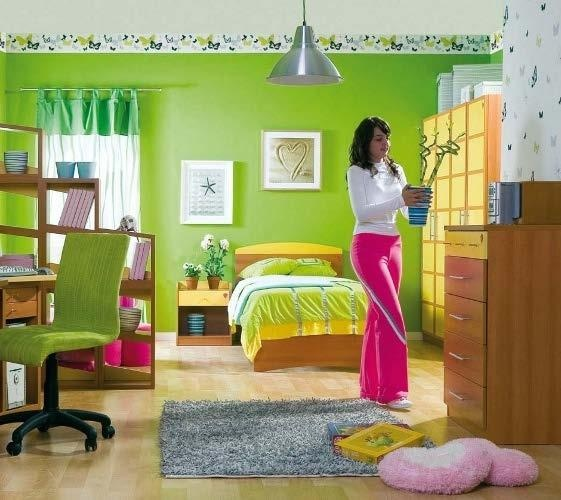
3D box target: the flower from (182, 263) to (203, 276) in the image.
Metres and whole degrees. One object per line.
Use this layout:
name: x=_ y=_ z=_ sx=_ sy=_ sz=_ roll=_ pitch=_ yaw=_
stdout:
flower: x=-0.847 y=0.211 z=5.876 sx=0.142 sy=0.076 sz=0.142 roll=2 pitch=-2 yaw=-42

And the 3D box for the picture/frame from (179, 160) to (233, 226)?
picture/frame: x=-0.767 y=-0.593 z=6.040 sx=0.637 sy=0.798 sz=0.077 roll=0 pitch=1 yaw=-4

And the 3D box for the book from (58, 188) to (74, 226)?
book: x=-1.415 y=-0.261 z=3.869 sx=0.043 sy=0.194 sz=0.192 roll=8 pitch=-4 yaw=-6

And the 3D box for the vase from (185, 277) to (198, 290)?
vase: x=-0.863 y=0.341 z=5.842 sx=0.111 sy=0.087 sz=0.113 roll=0 pitch=1 yaw=-25

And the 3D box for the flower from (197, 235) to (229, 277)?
flower: x=-0.645 y=0.074 z=5.954 sx=0.288 sy=0.454 sz=0.336 roll=0 pitch=0 yaw=-6

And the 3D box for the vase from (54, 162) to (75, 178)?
vase: x=-1.450 y=-0.534 z=4.029 sx=0.110 sy=0.101 sz=0.123 roll=0 pitch=4 yaw=-14

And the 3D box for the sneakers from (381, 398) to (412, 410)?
sneakers: x=0.690 y=0.924 z=3.523 sx=0.153 sy=0.072 sz=0.058 roll=-1 pitch=2 yaw=-5

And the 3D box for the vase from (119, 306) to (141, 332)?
vase: x=-0.995 y=0.476 z=3.977 sx=0.138 sy=0.121 sz=0.159 roll=1 pitch=1 yaw=1

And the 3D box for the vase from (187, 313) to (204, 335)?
vase: x=-0.818 y=0.751 z=5.892 sx=0.179 sy=0.207 sz=0.182 roll=0 pitch=-1 yaw=20

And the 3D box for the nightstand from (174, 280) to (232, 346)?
nightstand: x=-0.734 y=0.633 z=5.834 sx=0.527 sy=0.612 sz=0.313 roll=1 pitch=-2 yaw=-7

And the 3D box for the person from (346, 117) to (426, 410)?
person: x=0.620 y=0.084 z=3.554 sx=0.441 sy=1.752 sz=0.473 roll=0 pitch=0 yaw=7

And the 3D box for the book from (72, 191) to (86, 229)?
book: x=-1.292 y=-0.258 z=3.841 sx=0.074 sy=0.250 sz=0.025 roll=0 pitch=0 yaw=-18

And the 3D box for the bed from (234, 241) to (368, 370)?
bed: x=0.165 y=0.478 z=5.123 sx=0.796 sy=0.757 sz=1.148 roll=0 pitch=0 yaw=-6

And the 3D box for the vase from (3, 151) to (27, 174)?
vase: x=-1.699 y=-0.566 z=3.857 sx=0.145 sy=0.129 sz=0.140 roll=1 pitch=1 yaw=14

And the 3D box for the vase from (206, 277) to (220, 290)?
vase: x=-0.651 y=0.339 z=5.811 sx=0.119 sy=0.094 sz=0.121 roll=0 pitch=-1 yaw=-7

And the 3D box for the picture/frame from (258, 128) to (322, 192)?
picture/frame: x=0.098 y=-0.932 z=6.066 sx=0.609 sy=0.608 sz=0.060 roll=0 pitch=4 yaw=-2

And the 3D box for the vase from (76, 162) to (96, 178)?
vase: x=-1.308 y=-0.540 z=4.047 sx=0.121 sy=0.103 sz=0.133 roll=0 pitch=3 yaw=8

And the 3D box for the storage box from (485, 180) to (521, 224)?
storage box: x=1.159 y=-0.242 z=3.228 sx=0.198 sy=0.284 sz=0.170 roll=0 pitch=0 yaw=-1

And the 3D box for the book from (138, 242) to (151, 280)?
book: x=-0.900 y=0.076 z=3.971 sx=0.051 sy=0.226 sz=0.220 roll=5 pitch=-2 yaw=-7

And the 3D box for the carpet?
carpet: x=0.008 y=0.920 z=3.092 sx=1.302 sy=0.105 sz=1.174 roll=0 pitch=0 yaw=-3
